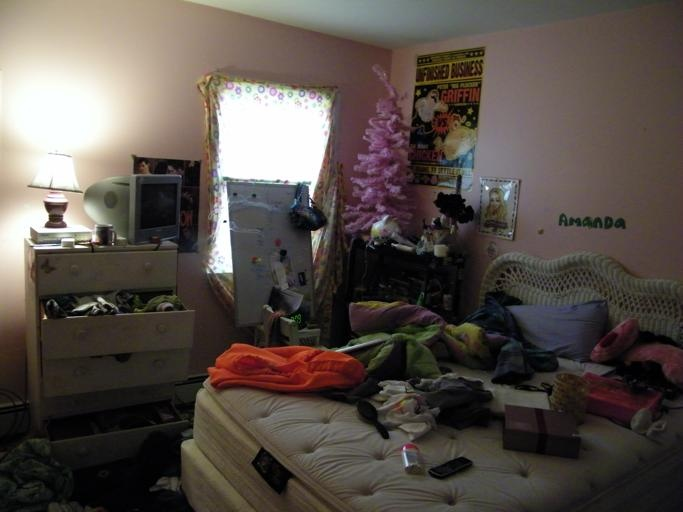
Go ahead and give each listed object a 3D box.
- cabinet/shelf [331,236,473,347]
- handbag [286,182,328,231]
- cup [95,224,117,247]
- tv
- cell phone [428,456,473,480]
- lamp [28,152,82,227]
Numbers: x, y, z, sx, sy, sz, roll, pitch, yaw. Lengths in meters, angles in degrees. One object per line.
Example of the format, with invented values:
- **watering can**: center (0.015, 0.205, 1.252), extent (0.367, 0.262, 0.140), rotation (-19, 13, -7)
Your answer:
- **cabinet/shelf**: center (0.508, 0.243, 3.848), extent (0.928, 0.868, 0.336), rotation (8, 11, 43)
- **handbag**: center (-0.311, -0.409, 4.277), extent (0.352, 0.382, 0.177), rotation (-50, 21, -23)
- **cup**: center (-1.520, -0.130, 3.200), extent (0.163, 0.158, 0.102), rotation (3, 8, 4)
- **tv**: center (-1.366, -0.333, 3.493), extent (0.574, 0.469, 0.491), rotation (11, 12, 6)
- **cell phone**: center (0.461, 0.913, 2.136), extent (0.231, 0.028, 0.099), rotation (-9, 3, -43)
- **lamp**: center (-1.906, -0.456, 3.354), extent (0.274, 0.503, 0.381), rotation (-2, 10, -27)
